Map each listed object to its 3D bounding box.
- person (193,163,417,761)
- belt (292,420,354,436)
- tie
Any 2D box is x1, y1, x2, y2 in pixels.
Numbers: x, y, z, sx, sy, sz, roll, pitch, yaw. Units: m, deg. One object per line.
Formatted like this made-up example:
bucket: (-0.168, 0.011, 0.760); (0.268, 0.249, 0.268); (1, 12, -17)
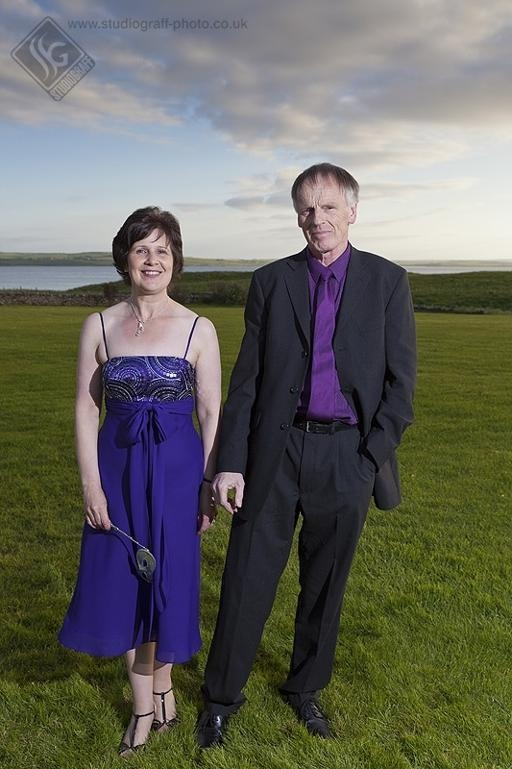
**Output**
person: (0.216, 0.353, 2.689); (1.038, 2.663, 0.686); (1, 4, -18)
belt: (0.305, 0.193, 2.513); (0.266, 0.057, 0.065); (1, 4, -2)
tie: (0.310, -0.204, 2.570); (0.129, 0.715, 0.216); (1, 4, 6)
